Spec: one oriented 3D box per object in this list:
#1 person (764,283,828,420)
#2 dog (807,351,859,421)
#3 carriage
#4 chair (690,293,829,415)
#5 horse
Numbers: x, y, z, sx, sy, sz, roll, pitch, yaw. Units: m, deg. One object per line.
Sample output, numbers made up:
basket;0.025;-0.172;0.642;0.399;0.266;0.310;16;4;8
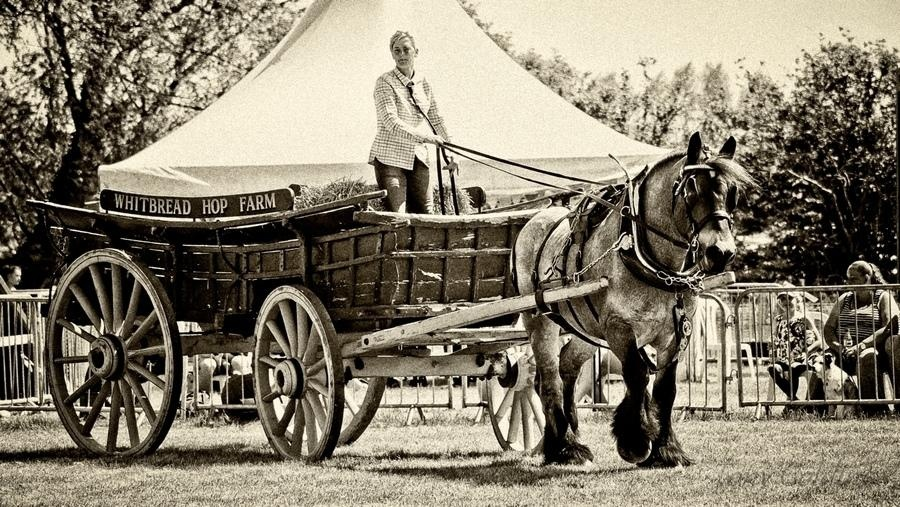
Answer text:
person;6.206;1.727;27.563;0.732;2.402;0.922;1;0;-18
dog;6.674;2.281;26.964;0.523;1.176;0.778;2;-7;-32
carriage;-0.899;0.677;24.789;9.497;4.065;5.827;-5;-6;32
chair;5.718;1.866;27.958;1.287;2.395;2.118;1;0;-13
horse;2.784;1.006;25.018;2.343;4.965;6.949;2;-7;-23
